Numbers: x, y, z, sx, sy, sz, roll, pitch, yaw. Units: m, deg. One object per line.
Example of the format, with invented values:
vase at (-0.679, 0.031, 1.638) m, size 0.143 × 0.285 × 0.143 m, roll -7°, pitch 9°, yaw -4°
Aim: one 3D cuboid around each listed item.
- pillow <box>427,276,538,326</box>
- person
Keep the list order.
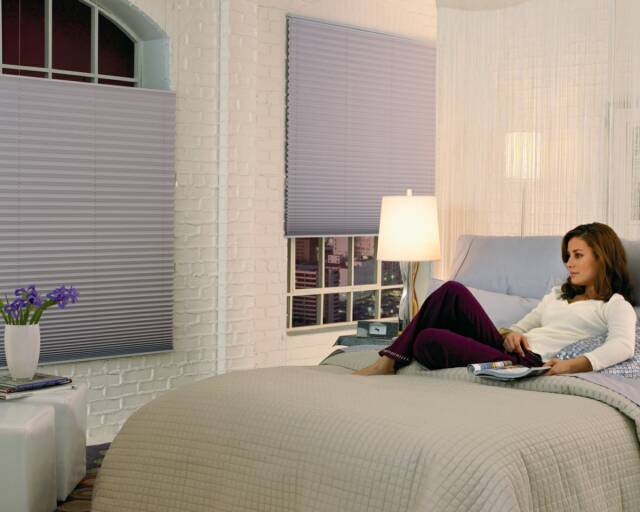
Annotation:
pillow at (1.031, 0.243, 2.796) m, size 0.341 × 0.189 × 0.091 m, roll 13°, pitch 29°, yaw 26°
person at (0.838, 0.172, 2.308) m, size 1.304 × 0.516 × 0.682 m, roll -2°, pitch -1°, yaw -9°
